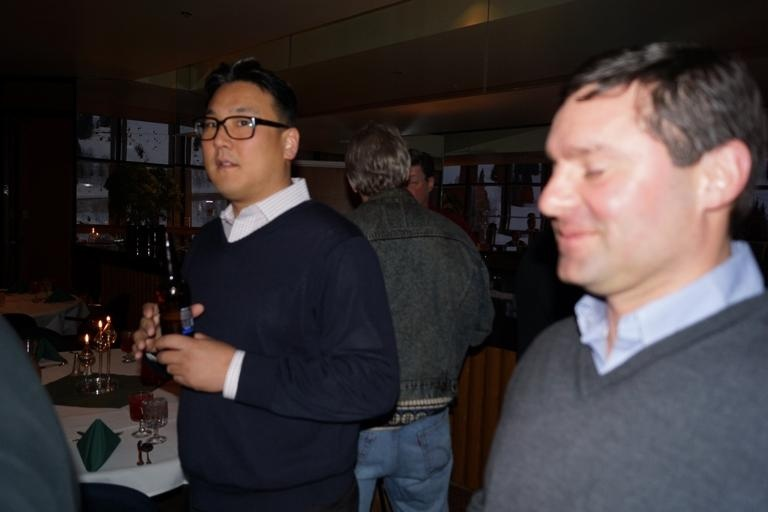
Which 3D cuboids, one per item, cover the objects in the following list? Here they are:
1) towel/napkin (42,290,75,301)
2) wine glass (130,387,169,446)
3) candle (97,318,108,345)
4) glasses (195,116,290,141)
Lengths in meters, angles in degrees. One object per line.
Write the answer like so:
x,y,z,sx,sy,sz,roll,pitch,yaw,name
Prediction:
-2.582,0.321,4.754,0.146,0.044,0.142,-4,6,-38,towel/napkin
-0.868,0.602,2.207,0.142,0.162,0.151,1,-1,-8,wine glass
-1.293,0.354,2.761,0.053,0.115,0.128,-5,3,-19,candle
-0.463,-0.412,1.944,0.146,0.044,0.151,0,-1,15,glasses
